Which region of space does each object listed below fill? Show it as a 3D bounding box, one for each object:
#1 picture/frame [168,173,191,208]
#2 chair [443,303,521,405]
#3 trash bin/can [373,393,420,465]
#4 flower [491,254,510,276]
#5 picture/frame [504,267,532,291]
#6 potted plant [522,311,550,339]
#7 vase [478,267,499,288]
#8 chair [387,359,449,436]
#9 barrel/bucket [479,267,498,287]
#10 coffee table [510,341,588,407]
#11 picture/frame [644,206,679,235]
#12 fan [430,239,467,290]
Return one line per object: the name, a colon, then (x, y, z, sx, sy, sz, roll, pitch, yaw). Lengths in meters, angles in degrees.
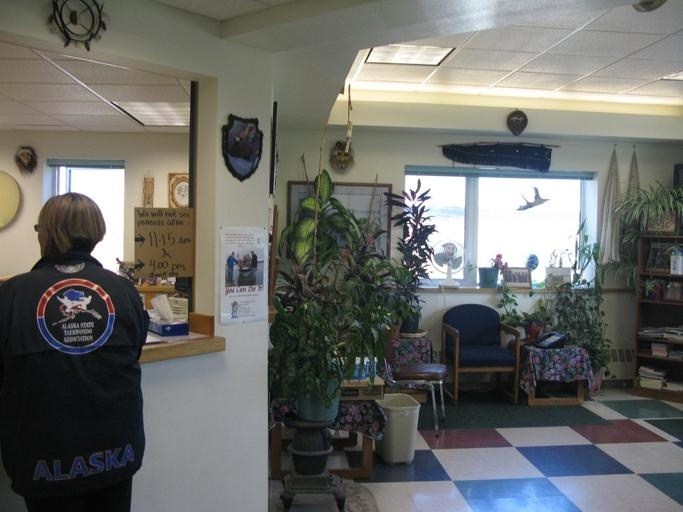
picture/frame: (-1.830, -0.734, 5.925, 0.193, 0.371, 0.483, -2, 6, -22)
chair: (1.577, 1.091, 5.961, 0.854, 0.982, 0.760, 1, 5, 2)
trash bin/can: (0.463, 1.454, 4.389, 0.342, 0.512, 0.354, 0, 5, -2)
flower: (1.926, 0.112, 6.364, 0.216, 0.231, 0.174, 2, 5, 12)
picture/frame: (2.095, 0.295, 6.333, 0.255, 0.240, 0.037, 0, -9, -3)
potted plant: (2.262, 0.824, 6.251, 0.292, 0.319, 0.299, 2, -5, -14)
vase: (1.760, 0.268, 6.349, 0.220, 0.188, 0.209, -2, -4, 22)
chair: (0.729, 1.394, 5.239, 0.769, 0.822, 0.653, 0, -7, -4)
barrel/bucket: (1.763, 0.266, 6.348, 0.187, 0.179, 0.222, 1, -6, 3)
coffee table: (2.356, 1.261, 6.008, 0.644, 0.515, 0.689, 0, 3, 3)
picture/frame: (3.653, -0.361, 6.027, 0.301, 0.271, 0.063, 4, 6, 33)
fan: (1.266, 0.110, 6.363, 0.509, 0.684, 0.317, 1, 6, 2)
